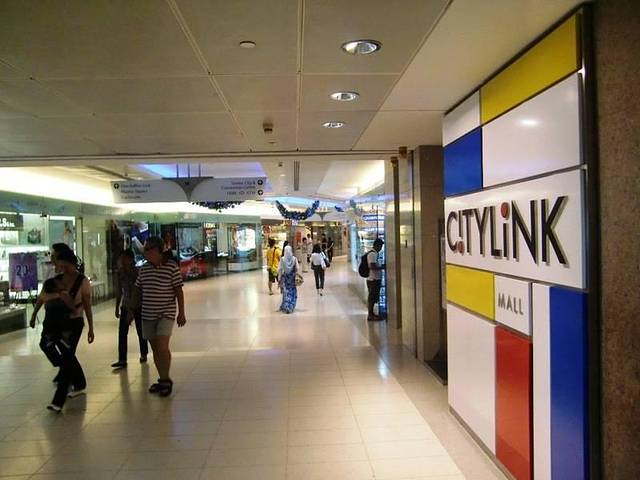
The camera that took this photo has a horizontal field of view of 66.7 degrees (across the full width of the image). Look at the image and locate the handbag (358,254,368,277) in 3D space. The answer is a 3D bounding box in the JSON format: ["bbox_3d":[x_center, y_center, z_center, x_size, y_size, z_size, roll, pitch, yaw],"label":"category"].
[{"bbox_3d":[0.849,0.482,9.365,0.174,0.457,0.483,-1,4,4],"label":"handbag"}]

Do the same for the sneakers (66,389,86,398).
[{"bbox_3d":[-3.025,1.880,6.015,0.070,0.091,0.211,-2,-7,37],"label":"sneakers"}]

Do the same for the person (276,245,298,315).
[{"bbox_3d":[-0.706,0.839,10.902,0.408,1.490,0.888,-2,4,-5],"label":"person"}]

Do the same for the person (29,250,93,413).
[{"bbox_3d":[-3.030,1.014,5.812,0.555,1.812,0.743,-3,5,-28],"label":"person"}]

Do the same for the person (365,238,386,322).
[{"bbox_3d":[1.076,0.767,9.393,0.320,1.625,0.535,-1,4,6],"label":"person"}]

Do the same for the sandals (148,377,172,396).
[{"bbox_3d":[-1.965,1.789,6.013,0.286,0.175,0.335,-3,5,-20],"label":"sandals"}]

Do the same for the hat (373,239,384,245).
[{"bbox_3d":[1.112,0.028,9.188,0.121,0.138,0.107,-7,-9,10],"label":"hat"}]

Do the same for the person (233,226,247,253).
[{"bbox_3d":[-3.608,-0.033,21.695,0.219,1.004,0.740,1,5,35],"label":"person"}]

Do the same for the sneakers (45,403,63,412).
[{"bbox_3d":[-2.992,1.885,5.443,0.085,0.084,0.204,4,-5,-9],"label":"sneakers"}]

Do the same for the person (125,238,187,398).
[{"bbox_3d":[-1.964,0.910,6.050,0.497,1.919,0.487,-3,4,-24],"label":"person"}]
